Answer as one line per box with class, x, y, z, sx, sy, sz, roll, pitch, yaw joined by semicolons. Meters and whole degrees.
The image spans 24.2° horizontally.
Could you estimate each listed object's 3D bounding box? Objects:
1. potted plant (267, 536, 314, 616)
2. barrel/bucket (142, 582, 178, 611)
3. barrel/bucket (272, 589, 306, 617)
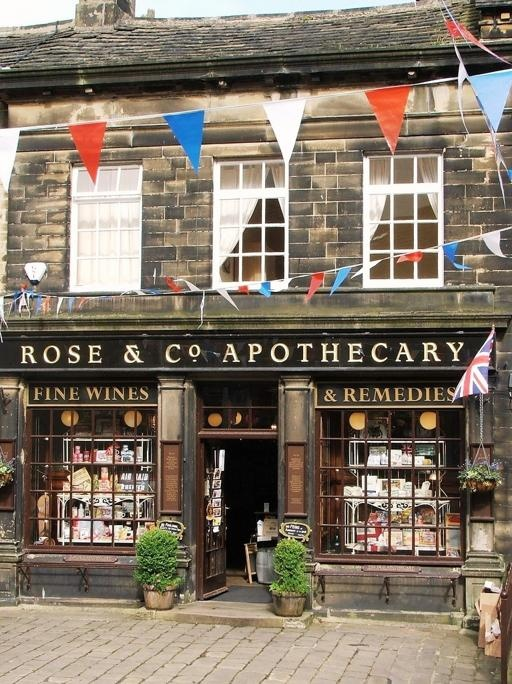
potted plant;0.369;2.687;13.692;0.502;0.815;0.447;0;-3;-15
barrel/bucket;-1.128;2.964;13.895;0.305;0.198;0.314;0;-9;0
barrel/bucket;0.374;2.990;13.564;0.290;0.200;0.302;1;-16;0
